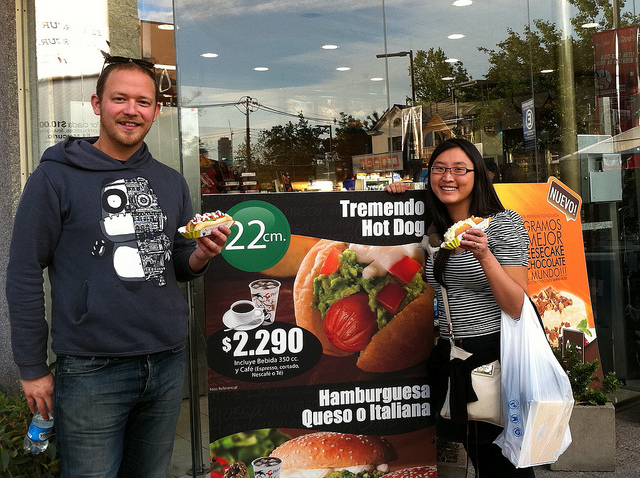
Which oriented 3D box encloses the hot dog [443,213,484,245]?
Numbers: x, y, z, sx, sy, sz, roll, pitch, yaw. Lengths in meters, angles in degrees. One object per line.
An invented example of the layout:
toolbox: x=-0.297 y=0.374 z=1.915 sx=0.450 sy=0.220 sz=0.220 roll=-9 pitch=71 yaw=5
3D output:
hot dog: x=0.863 y=-0.057 z=3.014 sx=0.154 sy=0.080 sz=0.215 roll=-31 pitch=1 yaw=-7

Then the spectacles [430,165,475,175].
spectacles: x=0.853 y=-0.454 z=3.259 sx=0.254 sy=0.079 sz=0.074 roll=-3 pitch=3 yaw=23

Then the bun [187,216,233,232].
bun: x=-0.609 y=-0.096 z=2.869 sx=0.089 sy=0.059 sz=0.303 roll=-4 pitch=4 yaw=16

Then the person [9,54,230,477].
person: x=-1.106 y=0.193 z=2.713 sx=0.983 sy=2.075 sz=0.335 roll=-5 pitch=3 yaw=-15

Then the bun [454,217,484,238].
bun: x=0.893 y=-0.059 z=3.021 sx=0.136 sy=0.045 sz=0.119 roll=-30 pitch=11 yaw=-14

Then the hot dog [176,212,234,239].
hot dog: x=-0.633 y=-0.121 z=2.826 sx=0.148 sy=0.094 sz=0.279 roll=1 pitch=24 yaw=42
